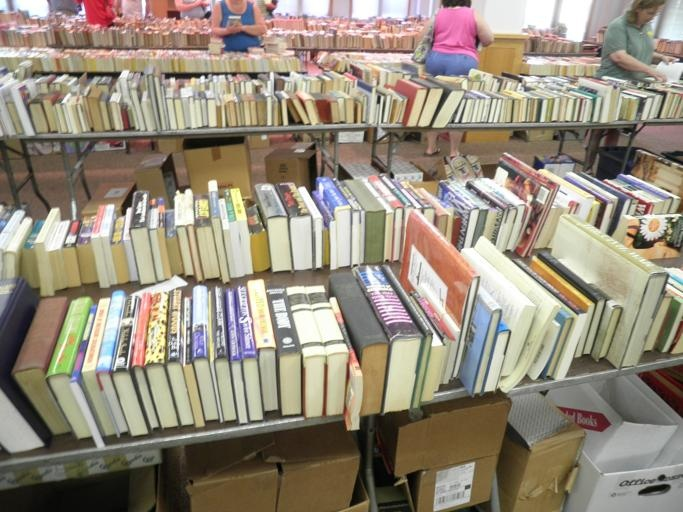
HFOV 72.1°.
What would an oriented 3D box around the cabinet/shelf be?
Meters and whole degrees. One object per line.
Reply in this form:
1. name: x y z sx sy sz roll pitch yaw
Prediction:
1. cabinet/shelf: -0.247 0.058 1.771 1.976 0.410 1.144 -6 44 -8
